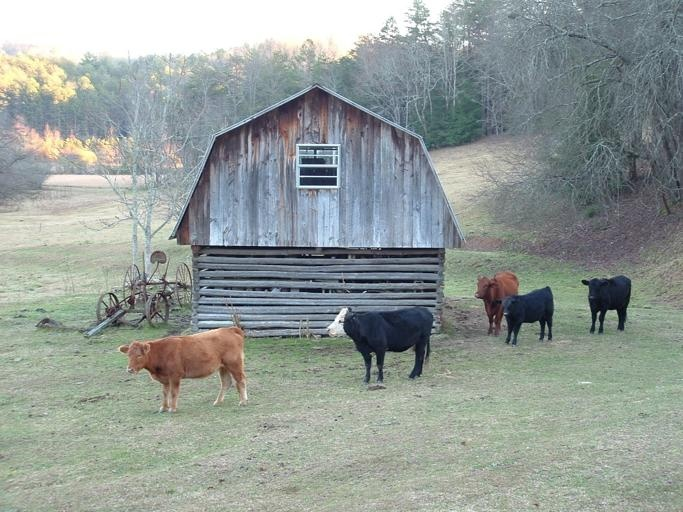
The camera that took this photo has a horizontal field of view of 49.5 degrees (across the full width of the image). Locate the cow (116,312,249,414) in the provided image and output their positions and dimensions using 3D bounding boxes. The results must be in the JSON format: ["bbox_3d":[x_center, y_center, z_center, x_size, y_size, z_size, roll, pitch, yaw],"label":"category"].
[{"bbox_3d":[-3.827,2.834,18.443,3.640,1.850,0.865,4,-15,-45],"label":"cow"}]

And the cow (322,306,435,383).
[{"bbox_3d":[1.062,2.420,20.254,3.510,1.931,0.972,3,-6,-31],"label":"cow"}]

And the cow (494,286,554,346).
[{"bbox_3d":[5.785,1.898,23.377,2.834,1.694,0.861,-1,3,-41],"label":"cow"}]
